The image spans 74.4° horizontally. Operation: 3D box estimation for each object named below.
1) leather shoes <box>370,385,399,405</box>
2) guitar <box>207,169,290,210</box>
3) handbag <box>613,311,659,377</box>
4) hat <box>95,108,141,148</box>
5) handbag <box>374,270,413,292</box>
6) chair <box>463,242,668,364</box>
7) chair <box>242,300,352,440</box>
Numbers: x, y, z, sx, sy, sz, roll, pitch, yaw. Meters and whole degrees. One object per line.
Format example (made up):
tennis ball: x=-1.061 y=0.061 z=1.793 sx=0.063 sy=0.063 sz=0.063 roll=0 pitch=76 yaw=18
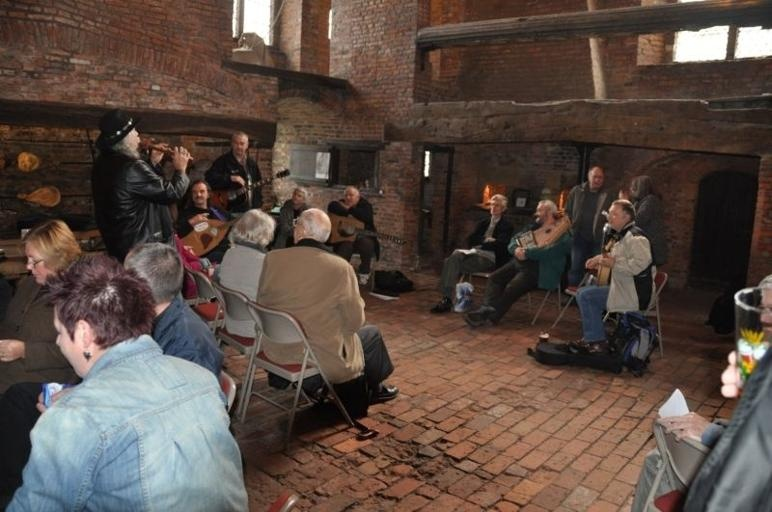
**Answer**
leather shoes: x=-0.014 y=1.350 z=5.006 sx=0.319 sy=0.119 sz=0.136 roll=-6 pitch=8 yaw=-28
guitar: x=-2.281 y=-1.022 z=8.235 sx=1.527 sy=0.523 sz=0.191 roll=-18 pitch=-3 yaw=6
handbag: x=2.854 y=0.989 z=5.819 sx=0.544 sy=0.641 sz=0.281 roll=5 pitch=5 yaw=22
hat: x=-2.511 y=-1.118 z=4.637 sx=0.388 sy=0.142 sz=0.311 roll=-19 pitch=46 yaw=23
handbag: x=0.165 y=0.446 z=8.766 sx=0.477 sy=0.152 sz=0.471 roll=8 pitch=5 yaw=35
chair: x=2.341 y=0.524 z=6.485 sx=1.710 sy=1.624 sz=1.194 roll=3 pitch=8 yaw=14
chair: x=-0.836 y=0.945 z=4.375 sx=0.953 sy=1.200 sz=0.617 roll=10 pitch=17 yaw=31
